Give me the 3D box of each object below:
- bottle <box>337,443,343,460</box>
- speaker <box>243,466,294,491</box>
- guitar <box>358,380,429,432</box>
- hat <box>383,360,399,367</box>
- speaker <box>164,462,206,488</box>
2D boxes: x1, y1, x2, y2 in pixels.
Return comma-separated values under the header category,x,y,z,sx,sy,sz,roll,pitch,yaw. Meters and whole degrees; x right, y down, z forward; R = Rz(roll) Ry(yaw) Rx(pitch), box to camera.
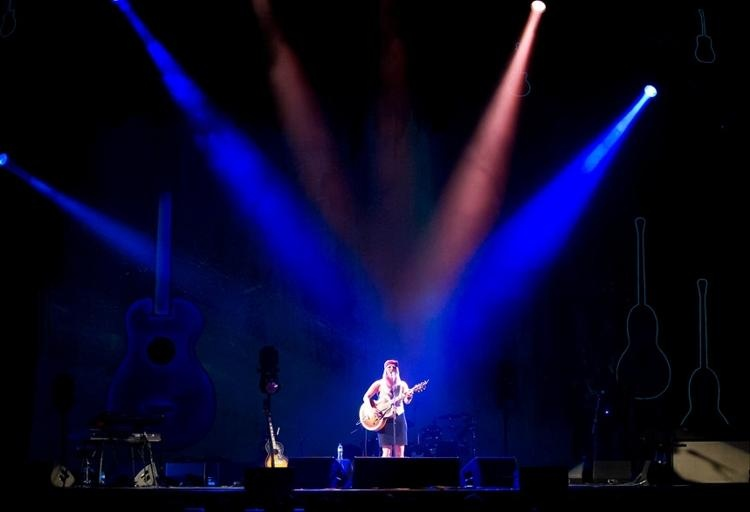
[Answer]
category,x,y,z,sx,sy,sz,roll,pitch,yaw
bottle,-0.540,3.058,11.841,0.094,0.256,0.277,2,-20,-4
speaker,-1.337,2.825,9.480,0.623,0.310,0.114,-3,-18,7
guitar,0.294,2.135,11.131,1.197,0.513,0.184,-38,-21,-2
hat,0.236,1.628,11.413,0.140,0.112,0.148,-7,-16,33
speaker,-2.686,3.108,10.705,0.531,0.313,0.355,2,-9,3
